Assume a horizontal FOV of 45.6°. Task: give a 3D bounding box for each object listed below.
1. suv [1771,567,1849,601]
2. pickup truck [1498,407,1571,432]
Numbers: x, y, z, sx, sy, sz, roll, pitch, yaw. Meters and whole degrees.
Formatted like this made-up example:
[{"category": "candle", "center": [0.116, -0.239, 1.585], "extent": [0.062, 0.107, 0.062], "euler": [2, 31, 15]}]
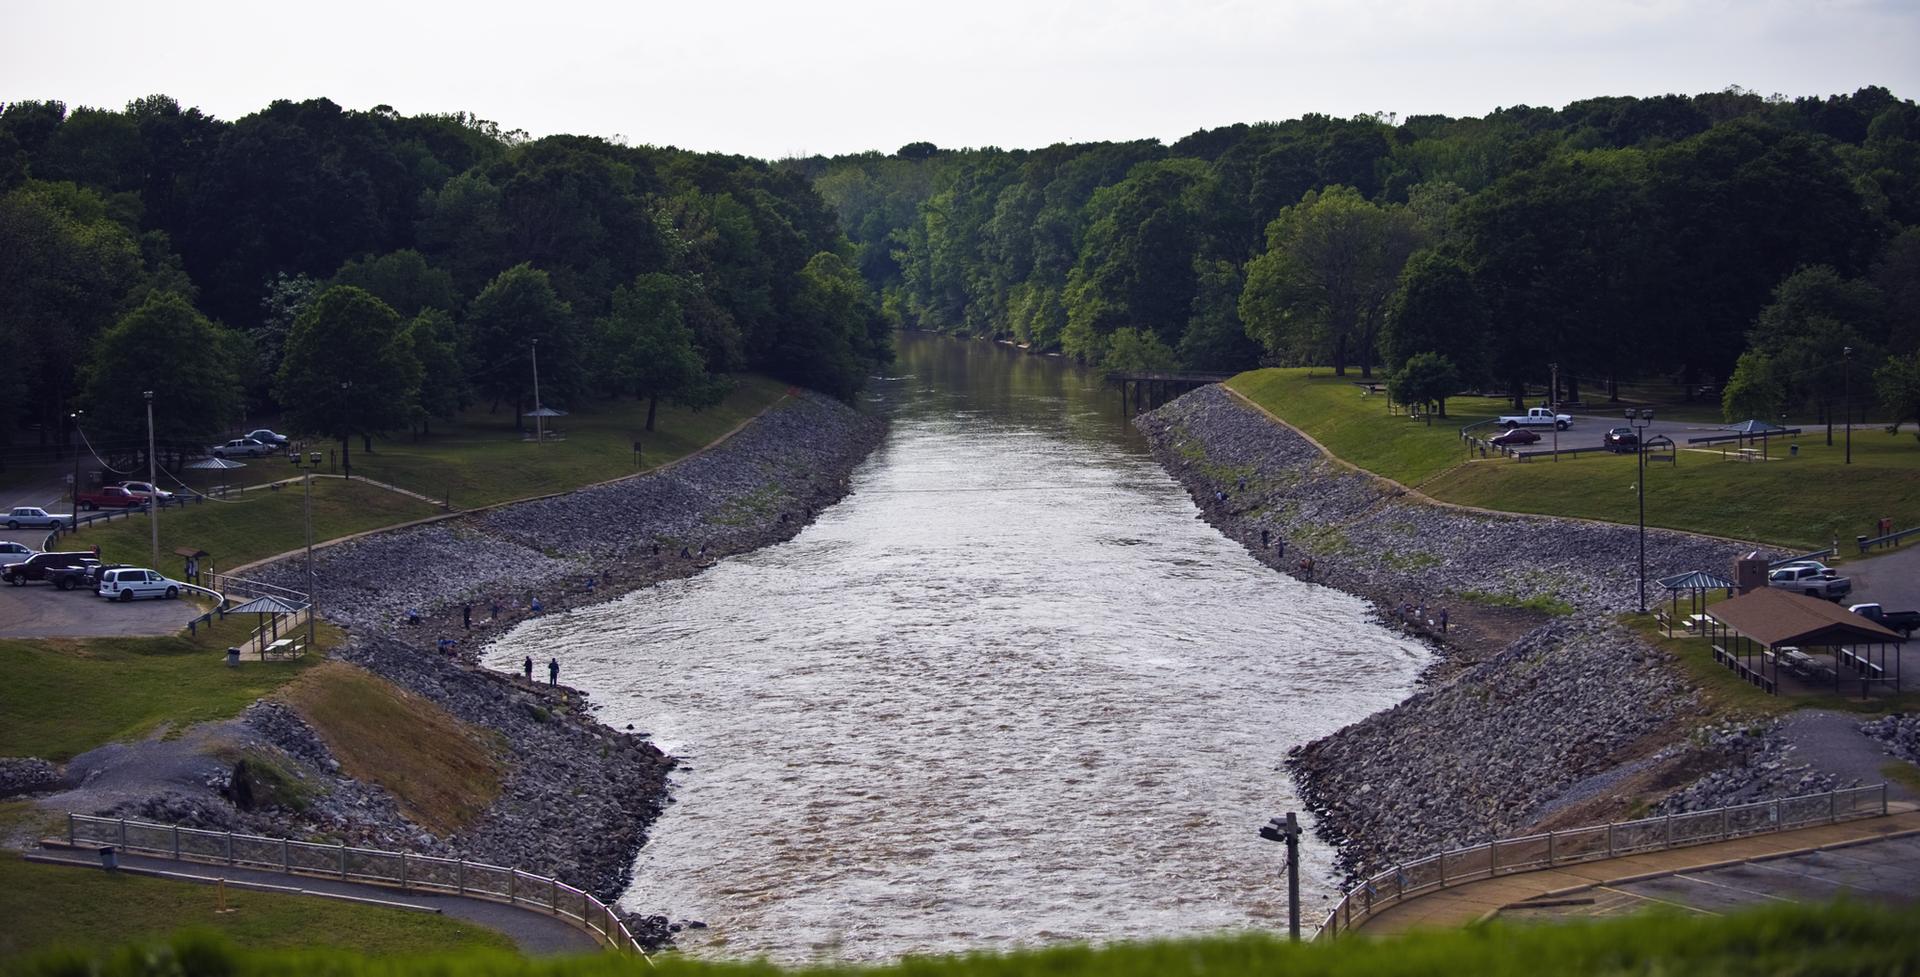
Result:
[{"category": "suv", "center": [71.956, 7.951, 192.061], "extent": [6.258, 2.246, 2.655], "euler": [0, 14, 13]}, {"category": "pickup truck", "center": [59.866, -6.842, 235.549], "extent": [7.828, 2.060, 2.981], "euler": [-1, 6, 5]}]
